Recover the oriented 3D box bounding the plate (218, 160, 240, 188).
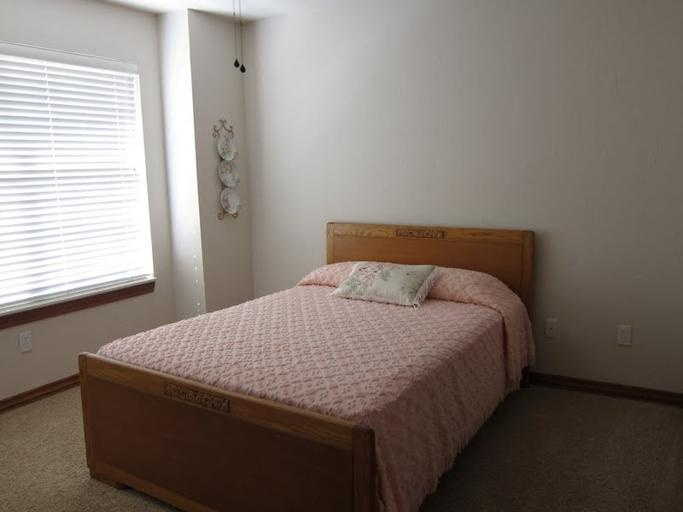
[{"bbox_3d":[-0.991,-0.731,4.223,0.044,0.211,0.180,-3,-10,34],"label":"plate"}]

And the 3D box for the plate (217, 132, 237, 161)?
[{"bbox_3d":[-0.997,-0.971,4.224,0.057,0.261,0.247,5,15,26],"label":"plate"}]

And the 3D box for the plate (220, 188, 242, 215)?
[{"bbox_3d":[-0.982,-0.492,4.285,0.049,0.252,0.253,4,14,23],"label":"plate"}]
